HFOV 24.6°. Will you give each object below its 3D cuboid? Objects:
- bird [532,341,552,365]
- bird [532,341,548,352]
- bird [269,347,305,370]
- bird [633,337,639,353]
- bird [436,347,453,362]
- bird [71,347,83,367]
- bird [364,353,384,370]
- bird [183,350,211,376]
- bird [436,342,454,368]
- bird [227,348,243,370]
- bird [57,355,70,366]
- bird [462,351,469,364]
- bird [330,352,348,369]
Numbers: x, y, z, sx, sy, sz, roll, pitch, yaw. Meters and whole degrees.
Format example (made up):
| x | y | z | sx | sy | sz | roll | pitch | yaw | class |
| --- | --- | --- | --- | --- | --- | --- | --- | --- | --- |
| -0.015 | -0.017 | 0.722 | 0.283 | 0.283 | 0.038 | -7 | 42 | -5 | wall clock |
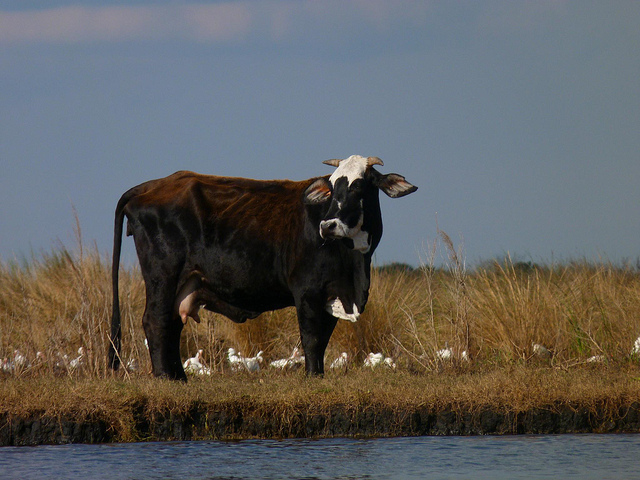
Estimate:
| x | y | z | sx | sy | sz | roll | pitch | yaw | class |
| --- | --- | --- | --- | --- | --- | --- | --- | --- | --- |
| 3.328 | 1.711 | 22.099 | 0.298 | 0.307 | 0.239 | -2 | 9 | -9 | bird |
| 3.301 | 1.621 | 22.152 | 0.220 | 0.150 | 0.420 | 1 | 10 | 8 | bird |
| -0.482 | 1.906 | 22.682 | 0.620 | 0.379 | 0.241 | -18 | 20 | -37 | bird |
| 4.663 | 1.555 | 21.761 | 0.056 | 0.204 | 0.100 | 2 | 21 | 9 | bird |
| 1.829 | 1.692 | 21.800 | 0.162 | 0.068 | 0.173 | 11 | 24 | 36 | bird |
| -3.648 | 1.762 | 22.183 | 0.160 | 0.227 | 0.072 | -17 | -34 | 40 | bird |
| 0.787 | 1.812 | 22.122 | 0.251 | 0.161 | 0.126 | -11 | -10 | 43 | bird |
| -1.820 | 1.895 | 22.292 | 0.212 | 0.422 | 0.563 | 8 | -6 | 15 | bird |
| 1.840 | 1.718 | 21.780 | 0.199 | 0.377 | 0.616 | 0 | -9 | 1 | bird |
| -1.309 | 1.882 | 22.425 | 0.133 | 0.224 | 0.408 | -5 | -28 | 3 | bird |
| -3.981 | 1.863 | 22.460 | 0.175 | 0.049 | 0.173 | -43 | 13 | -7 | bird |
| 2.140 | 1.742 | 21.716 | 0.047 | 0.155 | 0.075 | -14 | 10 | -8 | bird |
| 0.298 | 1.833 | 22.125 | 0.313 | 0.176 | 0.127 | -31 | 25 | -14 | bird |
